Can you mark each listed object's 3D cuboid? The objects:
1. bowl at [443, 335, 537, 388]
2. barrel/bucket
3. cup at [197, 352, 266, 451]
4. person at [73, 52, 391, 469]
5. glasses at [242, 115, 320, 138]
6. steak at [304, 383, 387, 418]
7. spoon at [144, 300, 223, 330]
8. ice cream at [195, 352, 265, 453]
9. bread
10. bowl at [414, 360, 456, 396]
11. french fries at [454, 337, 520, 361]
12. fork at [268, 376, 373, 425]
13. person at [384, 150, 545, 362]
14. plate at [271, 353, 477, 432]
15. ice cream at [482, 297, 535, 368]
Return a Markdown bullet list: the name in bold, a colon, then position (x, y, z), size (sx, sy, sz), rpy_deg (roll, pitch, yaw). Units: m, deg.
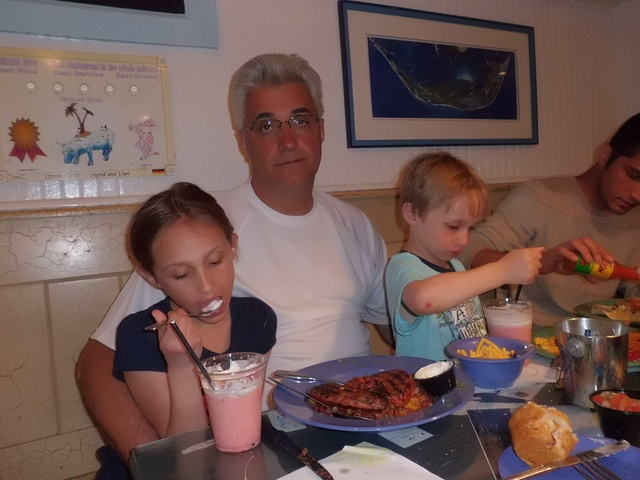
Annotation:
- **bowl**: position (0.495, 0.361, 1.315), size (0.240, 0.106, 0.282), rpy_deg (-4, 0, 22)
- **barrel/bucket**: position (0.694, 0.313, 1.222), size (0.185, 0.190, 0.284), rpy_deg (-4, 1, -11)
- **cup**: position (-0.198, 0.383, 1.090), size (0.092, 0.204, 0.158), rpy_deg (-3, -2, -23)
- **person**: position (-0.369, 0.270, 2.053), size (1.005, 1.943, 0.996), rpy_deg (-1, 10, -35)
- **glasses**: position (-0.141, -0.451, 1.861), size (0.265, 0.092, 0.182), rpy_deg (-2, 8, -29)
- **steak**: position (0.076, 0.399, 1.142), size (0.144, 0.030, 0.077), rpy_deg (10, 18, 23)
- **spoon**: position (-0.400, 0.229, 1.370), size (0.238, 0.065, 0.039), rpy_deg (-21, 6, -10)
- **ice cream**: position (-0.199, 0.407, 1.103), size (0.186, 0.198, 0.181), rpy_deg (-1, -8, -36)
- **bread**: position (0.484, 0.407, 0.985), size (0.083, 0.114, 0.127), rpy_deg (1, 0, 35)
- **bowl**: position (0.313, 0.366, 1.195), size (0.103, 0.062, 0.103), rpy_deg (-20, -3, -1)
- **french fries**: position (0.473, 0.301, 1.306), size (0.121, 0.054, 0.110), rpy_deg (7, -1, 29)
- **fork**: position (-0.012, 0.381, 1.167), size (0.099, 0.017, 0.294), rpy_deg (-9, 9, -41)
- **person**: position (0.527, 0.076, 1.677), size (0.493, 0.856, 0.536), rpy_deg (-3, 13, -24)
- **plate**: position (0.124, 0.339, 1.256), size (0.474, 0.147, 0.397), rpy_deg (1, 3, -8)
- **ice cream**: position (0.607, 0.297, 1.454), size (0.139, 0.176, 0.150), rpy_deg (-3, -1, -34)
